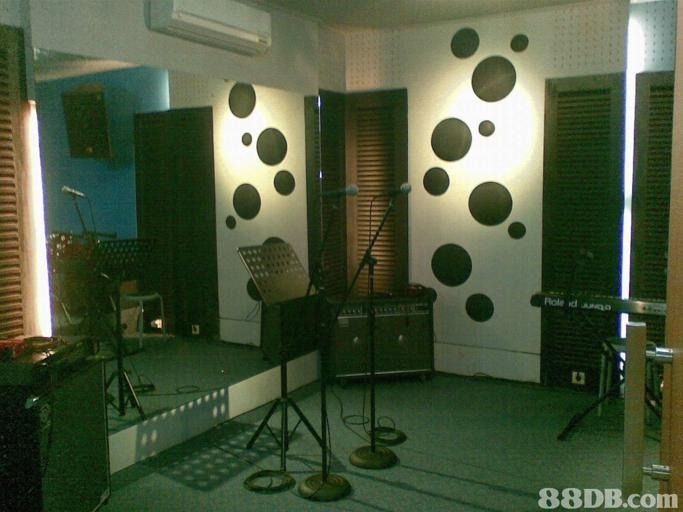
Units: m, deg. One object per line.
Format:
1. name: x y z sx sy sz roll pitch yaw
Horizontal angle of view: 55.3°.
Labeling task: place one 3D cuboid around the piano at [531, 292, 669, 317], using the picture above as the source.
1. piano: 1.913 0.352 4.891 0.924 0.150 0.211 7 15 32

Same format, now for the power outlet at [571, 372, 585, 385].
1. power outlet: 1.990 1.018 5.453 0.105 0.106 0.012 5 9 35

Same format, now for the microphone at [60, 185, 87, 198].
1. microphone: -1.602 -0.384 3.898 0.132 0.047 0.039 21 33 -38

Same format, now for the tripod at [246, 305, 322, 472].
1. tripod: -0.365 0.842 4.335 0.458 1.013 0.425 3 12 -3

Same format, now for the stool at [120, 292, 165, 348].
1. stool: -1.297 0.388 4.335 0.272 0.368 0.366 -5 5 -34

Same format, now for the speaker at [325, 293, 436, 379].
1. speaker: 0.347 0.562 5.810 0.960 0.863 0.647 -1 -1 -11

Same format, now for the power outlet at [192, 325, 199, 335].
1. power outlet: -1.028 0.519 4.608 0.014 0.060 0.063 1 -2 33

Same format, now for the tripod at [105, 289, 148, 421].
1. tripod: -1.406 0.659 4.134 0.105 0.896 0.278 4 13 19
